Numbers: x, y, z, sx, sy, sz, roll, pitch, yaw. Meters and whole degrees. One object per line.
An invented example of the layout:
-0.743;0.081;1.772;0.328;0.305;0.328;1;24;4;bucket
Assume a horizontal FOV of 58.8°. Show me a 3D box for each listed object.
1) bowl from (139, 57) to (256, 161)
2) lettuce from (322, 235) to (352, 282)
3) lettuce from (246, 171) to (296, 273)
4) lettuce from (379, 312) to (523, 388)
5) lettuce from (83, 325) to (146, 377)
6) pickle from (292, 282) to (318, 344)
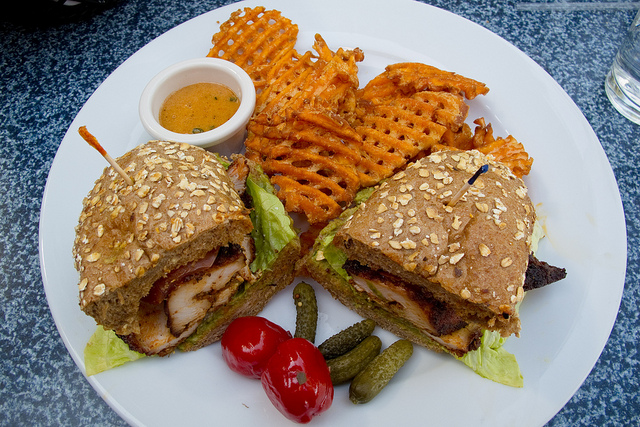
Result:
-0.987;-0.908;4.619;0.910;0.873;0.518;-2;-23;2;bowl
0.111;0.333;4.318;0.218;0.313;0.243;2;24;7;lettuce
-0.375;0.034;4.404;0.391;0.733;0.366;-8;20;-17;lettuce
1.218;0.992;4.126;0.551;0.124;0.349;23;22;8;lettuce
-1.467;1.021;4.252;0.436;0.334;0.131;-11;-6;2;lettuce
-0.110;0.733;4.247;0.168;0.396;0.139;-5;-25;13;pickle
